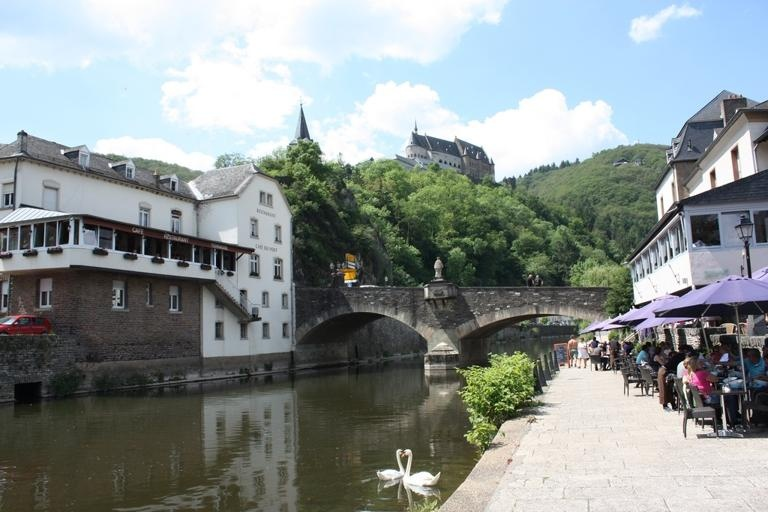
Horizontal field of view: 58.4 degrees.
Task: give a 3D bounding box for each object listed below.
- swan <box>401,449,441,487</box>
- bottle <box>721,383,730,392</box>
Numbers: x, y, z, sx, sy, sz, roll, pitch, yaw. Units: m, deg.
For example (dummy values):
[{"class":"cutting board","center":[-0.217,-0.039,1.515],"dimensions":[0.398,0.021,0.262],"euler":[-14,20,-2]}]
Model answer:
[{"class":"swan","center":[0.938,5.357,17.301],"dimensions":[1.087,0.821,0.421],"euler":[10,-9,-11]},{"class":"bottle","center":[8.945,3.470,17.955],"dimensions":[0.233,0.217,0.214],"euler":[-2,-20,-9]}]
